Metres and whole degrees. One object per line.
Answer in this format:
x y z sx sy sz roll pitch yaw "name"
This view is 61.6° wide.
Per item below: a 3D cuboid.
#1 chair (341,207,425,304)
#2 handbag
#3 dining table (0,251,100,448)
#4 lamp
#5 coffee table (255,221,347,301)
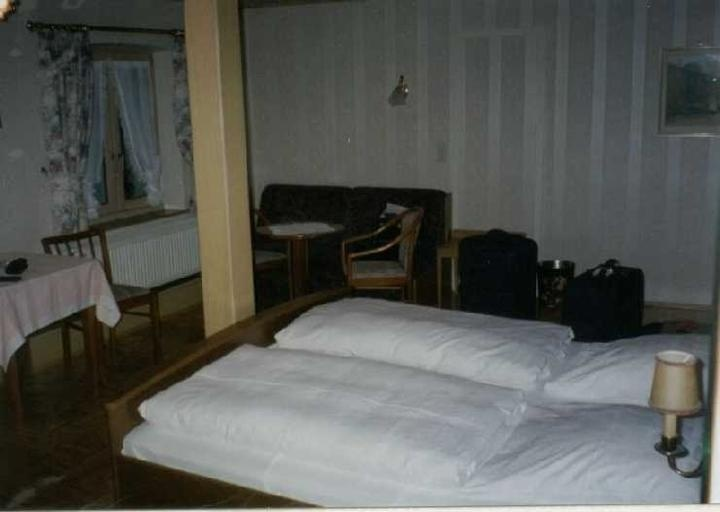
0.140 -0.058 3.806 0.606 0.775 0.594 1 8 -1 "chair"
1.282 0.253 3.151 0.410 0.371 0.218 -4 12 -8 "handbag"
-1.767 0.419 3.208 0.417 0.787 0.542 3 12 24 "dining table"
0.984 0.482 1.868 0.157 0.378 0.191 4 13 26 "lamp"
-0.392 -0.024 3.890 0.531 0.496 0.498 -2 15 -8 "coffee table"
